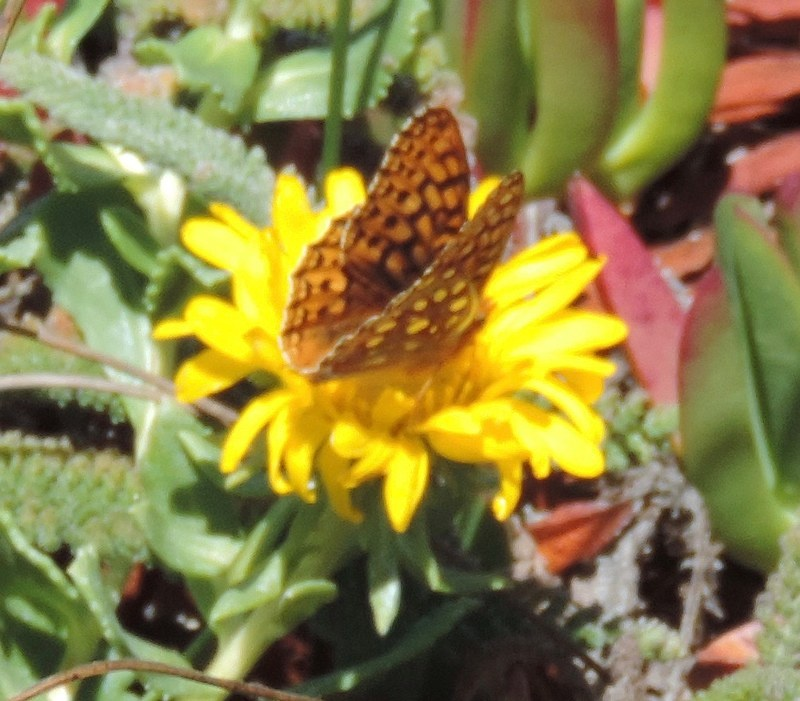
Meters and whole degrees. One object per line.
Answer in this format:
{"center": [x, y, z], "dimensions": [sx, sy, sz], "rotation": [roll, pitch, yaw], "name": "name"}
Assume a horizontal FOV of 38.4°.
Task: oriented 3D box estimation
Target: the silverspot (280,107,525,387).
{"center": [0.000, -0.035, 0.523], "dimensions": [0.115, 0.068, 0.123], "rotation": [-46, -12, 4], "name": "silverspot"}
